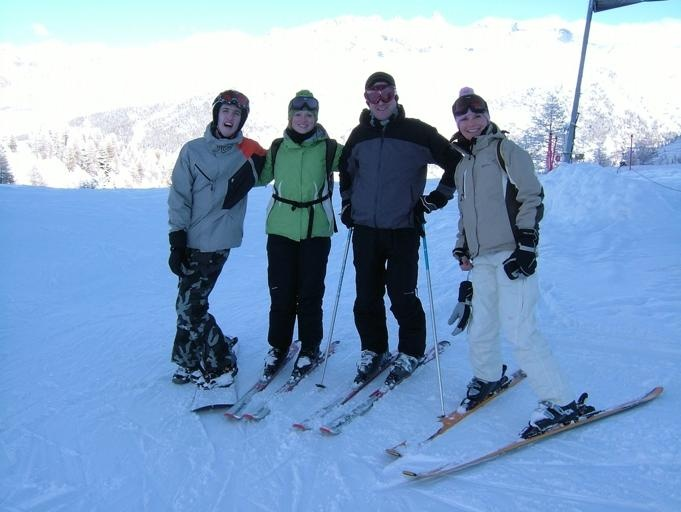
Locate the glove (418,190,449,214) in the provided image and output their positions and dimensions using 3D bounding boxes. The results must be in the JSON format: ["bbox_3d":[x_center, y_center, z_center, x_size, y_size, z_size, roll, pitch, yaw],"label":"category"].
[{"bbox_3d":[0.886,-0.519,5.285,0.276,0.214,0.210,5,15,12],"label":"glove"}]

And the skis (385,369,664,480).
[{"bbox_3d":[1.510,1.385,4.497,1.722,0.100,0.184,-21,11,-7],"label":"skis"}]

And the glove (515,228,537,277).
[{"bbox_3d":[1.477,-0.028,4.383,0.201,0.350,0.134,0,-4,17],"label":"glove"}]

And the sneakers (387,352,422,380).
[{"bbox_3d":[0.626,1.017,5.335,0.144,0.202,0.437,16,26,30],"label":"sneakers"}]

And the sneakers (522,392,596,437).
[{"bbox_3d":[1.744,1.276,4.442,0.471,0.179,0.161,-23,13,-7],"label":"sneakers"}]

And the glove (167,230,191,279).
[{"bbox_3d":[-1.503,-0.030,5.199,0.230,0.380,0.155,-1,-2,1],"label":"glove"}]

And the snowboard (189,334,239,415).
[{"bbox_3d":[-1.166,1.271,5.194,0.415,0.100,0.535,-1,15,-8],"label":"snowboard"}]

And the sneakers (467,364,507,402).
[{"bbox_3d":[1.279,1.105,4.820,0.412,0.178,0.134,-32,30,-22],"label":"sneakers"}]

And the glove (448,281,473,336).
[{"bbox_3d":[1.042,0.437,4.824,0.182,0.538,0.172,13,10,2],"label":"glove"}]

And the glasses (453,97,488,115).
[{"bbox_3d":[1.076,-1.252,4.616,0.170,0.100,0.206,-3,-7,14],"label":"glasses"}]

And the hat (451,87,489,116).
[{"bbox_3d":[1.071,-1.261,4.561,0.209,0.121,0.319,-2,19,7],"label":"hat"}]

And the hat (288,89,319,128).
[{"bbox_3d":[-0.358,-1.464,5.518,0.289,0.353,0.397,0,1,-13],"label":"hat"}]

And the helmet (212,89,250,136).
[{"bbox_3d":[-1.062,-1.372,5.395,0.372,0.407,0.440,8,-7,-8],"label":"helmet"}]
